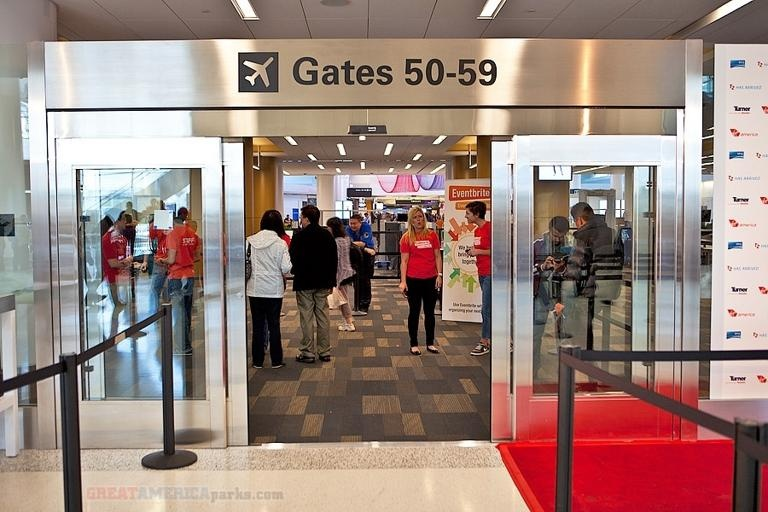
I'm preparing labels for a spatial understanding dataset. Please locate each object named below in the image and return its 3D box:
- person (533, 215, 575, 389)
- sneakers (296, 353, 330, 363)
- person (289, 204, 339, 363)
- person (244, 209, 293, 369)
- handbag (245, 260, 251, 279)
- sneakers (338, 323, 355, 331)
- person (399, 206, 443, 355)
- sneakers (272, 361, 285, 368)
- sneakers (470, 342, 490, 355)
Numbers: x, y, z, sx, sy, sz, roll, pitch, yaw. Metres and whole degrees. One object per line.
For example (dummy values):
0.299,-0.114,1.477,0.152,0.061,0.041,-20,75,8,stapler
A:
1.479,0.379,5.459,0.243,1.455,0.456,10,17,37,person
-0.842,1.233,7.269,0.398,0.157,0.148,3,-2,-4,sneakers
-0.816,0.363,7.117,0.539,1.898,0.423,-2,13,-8,person
-1.286,0.413,6.827,0.496,1.837,0.366,-3,14,-13,person
-1.502,0.147,6.703,0.037,0.219,0.148,-6,15,-24,handbag
-0.545,1.055,8.849,0.273,0.118,0.099,6,4,33,sneakers
0.456,0.333,7.319,0.485,1.876,0.461,0,13,2,person
-1.224,1.286,7.039,0.126,0.055,0.051,-13,-15,37,sneakers
1.219,1.169,7.511,0.104,0.117,0.291,-7,-13,34,sneakers
